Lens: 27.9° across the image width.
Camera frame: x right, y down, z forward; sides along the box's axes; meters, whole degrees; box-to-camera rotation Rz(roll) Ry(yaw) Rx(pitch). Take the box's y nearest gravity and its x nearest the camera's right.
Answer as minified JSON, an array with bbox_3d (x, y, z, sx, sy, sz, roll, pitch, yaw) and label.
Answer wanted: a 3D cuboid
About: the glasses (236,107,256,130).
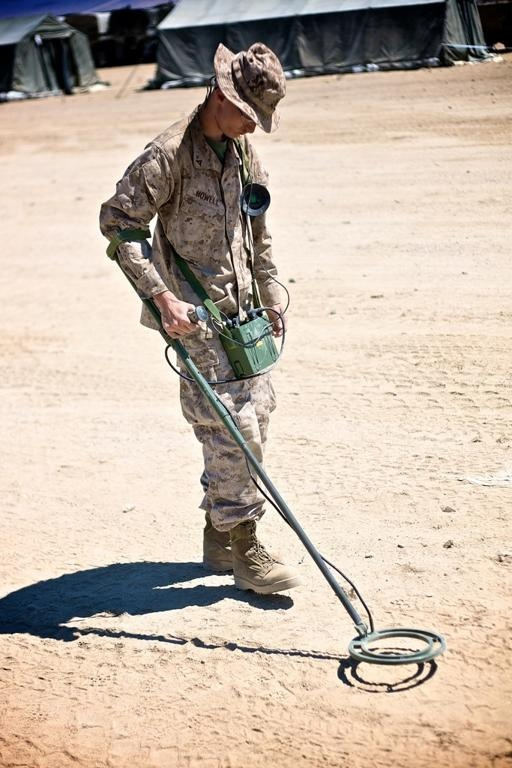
[{"bbox_3d":[-0.037,-0.933,3.646,0.022,0.078,0.058,-40,5,-6],"label":"glasses"}]

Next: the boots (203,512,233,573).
[{"bbox_3d":[-0.148,0.663,4.289,0.115,0.227,0.253,8,-7,-21],"label":"boots"}]

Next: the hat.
[{"bbox_3d":[-0.021,-1.048,3.602,0.146,0.311,0.304,-20,7,37],"label":"hat"}]

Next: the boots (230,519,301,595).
[{"bbox_3d":[0.021,0.679,4.057,0.309,0.264,0.132,-3,6,42],"label":"boots"}]

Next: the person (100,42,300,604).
[{"bbox_3d":[-0.159,-0.190,3.951,0.755,2.091,0.641,-12,14,-18],"label":"person"}]
